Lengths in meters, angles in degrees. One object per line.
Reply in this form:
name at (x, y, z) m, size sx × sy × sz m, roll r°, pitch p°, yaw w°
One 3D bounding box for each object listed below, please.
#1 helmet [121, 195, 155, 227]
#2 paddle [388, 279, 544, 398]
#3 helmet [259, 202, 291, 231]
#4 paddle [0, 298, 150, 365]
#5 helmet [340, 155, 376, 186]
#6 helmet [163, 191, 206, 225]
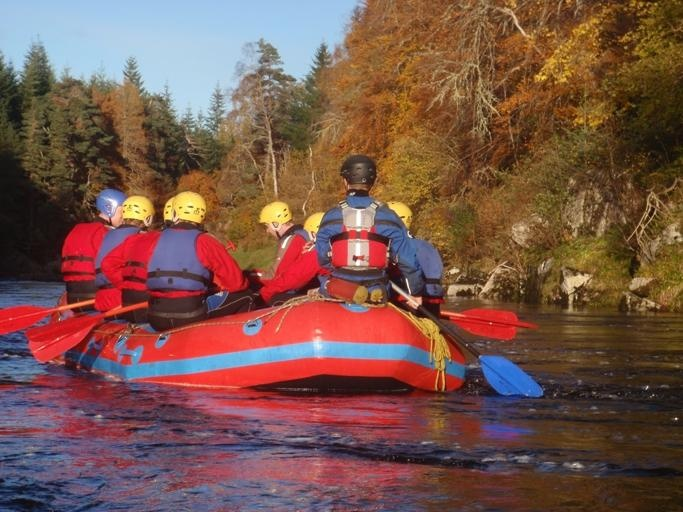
helmet at (-2.958, -0.685, 14.031) m, size 0.433 × 0.420 × 0.519 m, roll 12°, pitch 12°, yaw 17°
paddle at (1.842, 1.208, 13.464) m, size 2.443 × 0.415 × 0.168 m, roll 32°, pitch -4°, yaw 18°
helmet at (-0.960, -0.614, 13.873) m, size 0.507 × 0.301 × 0.326 m, roll -4°, pitch -8°, yaw 0°
paddle at (-3.743, 1.099, 12.931) m, size 2.836 × 0.776 × 0.228 m, roll -16°, pitch -27°, yaw 24°
helmet at (0.200, -1.054, 11.530) m, size 0.406 × 0.323 × 0.432 m, roll 2°, pitch 11°, yaw -7°
helmet at (-2.057, -0.658, 12.383) m, size 0.415 × 0.354 × 0.522 m, roll -2°, pitch 10°, yaw -27°
